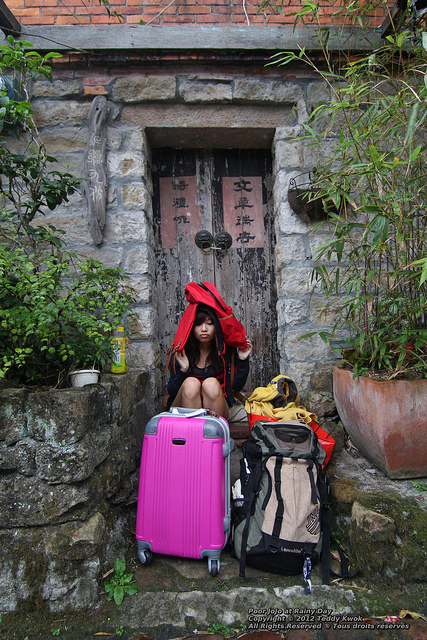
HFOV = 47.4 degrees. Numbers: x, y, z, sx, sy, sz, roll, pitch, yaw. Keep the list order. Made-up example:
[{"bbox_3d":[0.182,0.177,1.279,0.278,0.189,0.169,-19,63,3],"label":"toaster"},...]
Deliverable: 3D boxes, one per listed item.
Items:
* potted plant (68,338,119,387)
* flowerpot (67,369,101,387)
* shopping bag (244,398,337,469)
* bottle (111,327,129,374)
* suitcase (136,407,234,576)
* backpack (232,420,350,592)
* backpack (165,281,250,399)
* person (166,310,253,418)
[{"bbox_3d":[-0.529,0.197,2.229,0.221,0.247,0.212,8,2,34],"label":"potted plant"},{"bbox_3d":[-0.575,0.243,2.151,0.090,0.050,0.091,-2,1,20],"label":"flowerpot"},{"bbox_3d":[0.372,0.510,2.335,0.381,0.265,0.438,2,5,2],"label":"shopping bag"},{"bbox_3d":[-0.480,0.153,2.464,0.079,0.232,0.165,-2,2,-13],"label":"bottle"},{"bbox_3d":[-0.128,0.685,2.045,0.377,0.616,0.265,1,1,5],"label":"suitcase"},{"bbox_3d":[0.272,0.717,1.962,0.399,0.540,0.389,-1,2,2],"label":"backpack"},{"bbox_3d":[-0.019,0.090,2.601,0.389,0.587,0.299,-1,17,-12],"label":"backpack"},{"bbox_3d":[-0.037,0.306,2.548,0.364,0.770,0.416,3,-1,-30],"label":"person"}]
